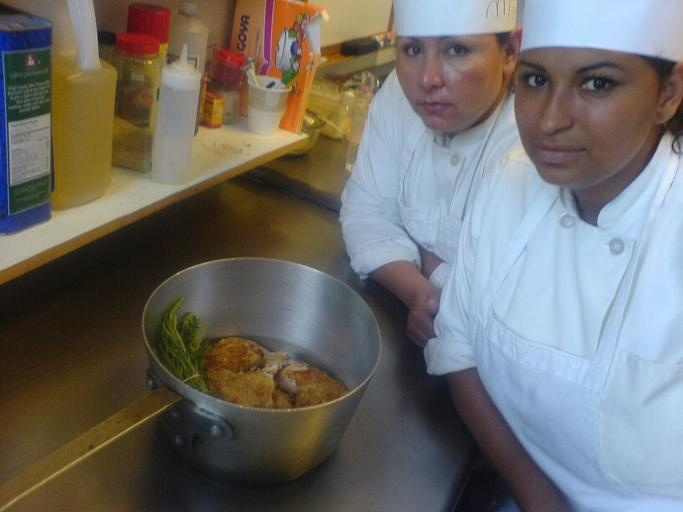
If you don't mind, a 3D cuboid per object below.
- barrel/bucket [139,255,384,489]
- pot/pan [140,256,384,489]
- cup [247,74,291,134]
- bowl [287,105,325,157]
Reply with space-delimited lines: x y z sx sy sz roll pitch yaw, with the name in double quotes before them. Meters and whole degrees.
"barrel/bucket" -0.143 0.197 1.028 0.402 0.208 0.429 8 30 -5
"pot/pan" -0.143 0.202 1.014 0.404 0.223 0.384 19 31 14
"cup" -0.221 -0.417 1.585 0.123 0.149 0.146 3 37 -17
"bowl" -0.116 -0.390 1.870 0.095 0.137 0.364 7 31 -2
